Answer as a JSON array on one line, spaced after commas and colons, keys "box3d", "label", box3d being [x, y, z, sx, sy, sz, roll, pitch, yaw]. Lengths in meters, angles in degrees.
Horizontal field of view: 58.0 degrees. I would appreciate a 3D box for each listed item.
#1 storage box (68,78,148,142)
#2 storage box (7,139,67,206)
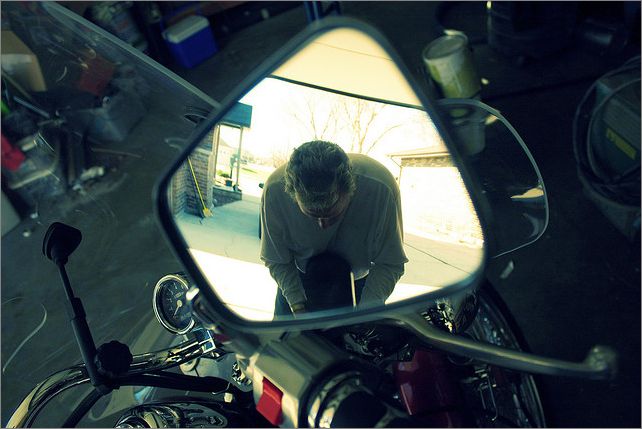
[{"box3d": [-0.745, -0.389, 2.289, 0.352, 0.125, 0.237, -24, 2, 26], "label": "storage box"}, {"box3d": [-1.066, -0.159, 2.160, 0.136, 0.128, 0.175, -38, -36, 11], "label": "storage box"}]
